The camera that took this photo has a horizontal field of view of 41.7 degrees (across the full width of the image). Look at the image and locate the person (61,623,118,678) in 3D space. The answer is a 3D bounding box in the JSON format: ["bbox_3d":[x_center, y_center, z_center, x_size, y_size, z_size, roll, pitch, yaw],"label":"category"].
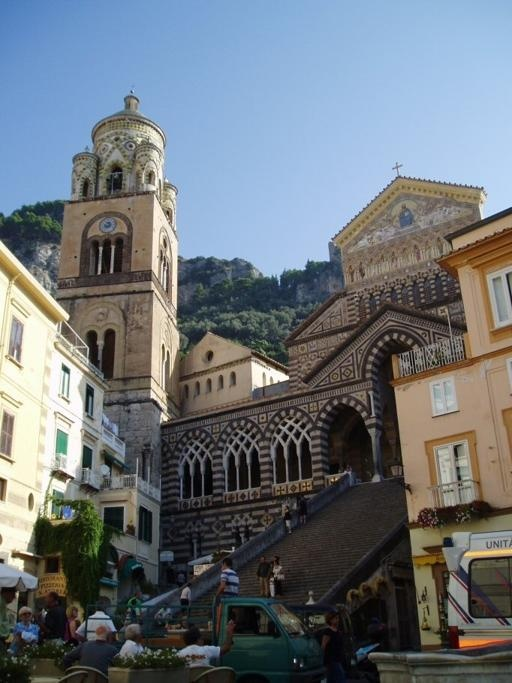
[{"bbox_3d":[-1.522,2.832,6.190,0.460,0.396,1.064,3,-23,-14],"label":"person"}]

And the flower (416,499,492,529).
[{"bbox_3d":[4.231,3.666,14.251,0.671,0.373,1.498,13,-27,-33],"label":"flower"}]

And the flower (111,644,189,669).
[{"bbox_3d":[-0.887,2.644,5.586,0.600,0.141,0.416,1,-22,-10],"label":"flower"}]
